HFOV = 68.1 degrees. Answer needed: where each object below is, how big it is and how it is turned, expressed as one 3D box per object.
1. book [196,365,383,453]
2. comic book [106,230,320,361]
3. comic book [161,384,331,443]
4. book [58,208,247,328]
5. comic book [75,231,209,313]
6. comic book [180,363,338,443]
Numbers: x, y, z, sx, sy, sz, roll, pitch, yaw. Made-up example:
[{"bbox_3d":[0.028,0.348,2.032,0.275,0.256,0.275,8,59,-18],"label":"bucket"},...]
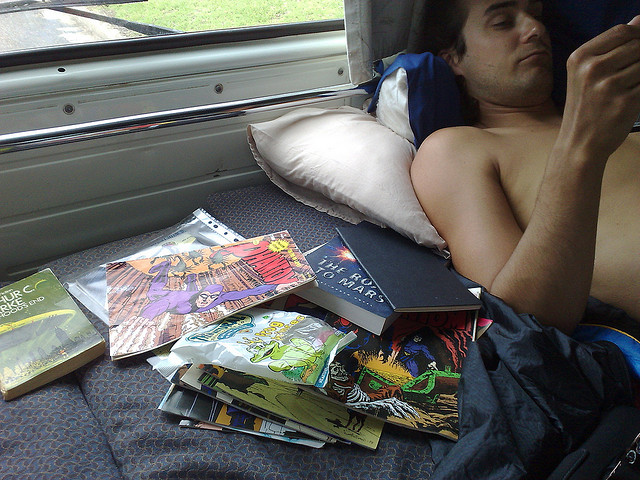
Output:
[{"bbox_3d":[-0.070,0.323,0.981,0.474,0.034,0.151,-10,50,31],"label":"book"},{"bbox_3d":[-0.238,0.133,1.069,0.496,0.082,0.369,-10,26,-27],"label":"comic book"},{"bbox_3d":[-0.135,0.344,0.956,0.334,0.012,0.103,7,30,-1],"label":"comic book"},{"bbox_3d":[-0.472,0.082,1.338,0.355,0.037,0.335,-29,51,-28],"label":"book"},{"bbox_3d":[-0.472,0.087,1.277,0.241,0.024,0.196,-25,49,-26],"label":"comic book"},{"bbox_3d":[-0.147,0.311,0.984,0.448,0.148,0.029,21,78,3],"label":"comic book"}]
